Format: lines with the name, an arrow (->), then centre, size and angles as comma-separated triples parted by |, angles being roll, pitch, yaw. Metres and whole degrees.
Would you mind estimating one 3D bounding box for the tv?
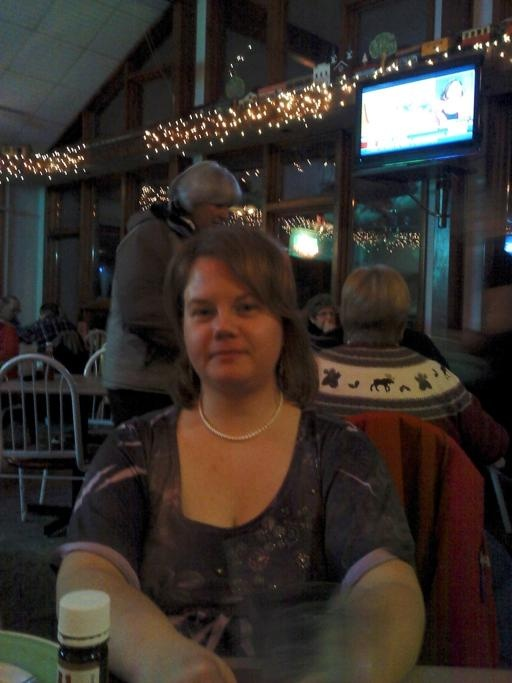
tv -> 1.095, -1.523, 3.899 | 0.094, 0.690, 0.870 | 0, 1, -44
